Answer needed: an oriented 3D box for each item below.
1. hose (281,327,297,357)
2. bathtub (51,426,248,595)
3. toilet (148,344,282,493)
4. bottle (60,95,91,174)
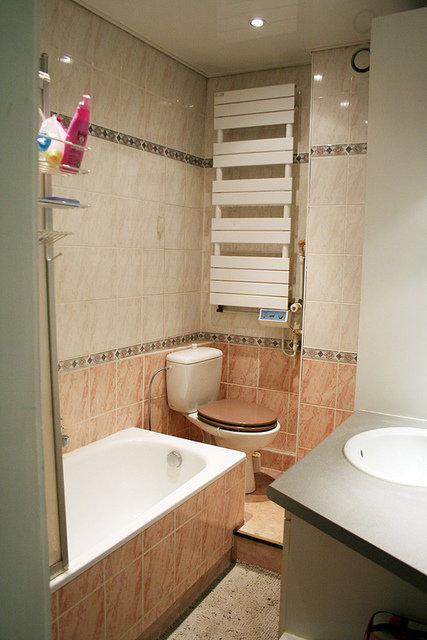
[{"bbox_3d":[0.467,0.133,2.937,0.092,0.184,0.079,-5,-1,2],"label":"hose"},{"bbox_3d":[-0.343,0.755,2.097,0.582,0.405,0.771,11,10,32],"label":"bathtub"},{"bbox_3d":[0.056,0.621,2.844,0.743,0.907,0.472,0,6,30],"label":"toilet"},{"bbox_3d":[-0.416,-0.562,1.417,0.091,0.206,0.058,-4,-1,-21],"label":"bottle"}]
